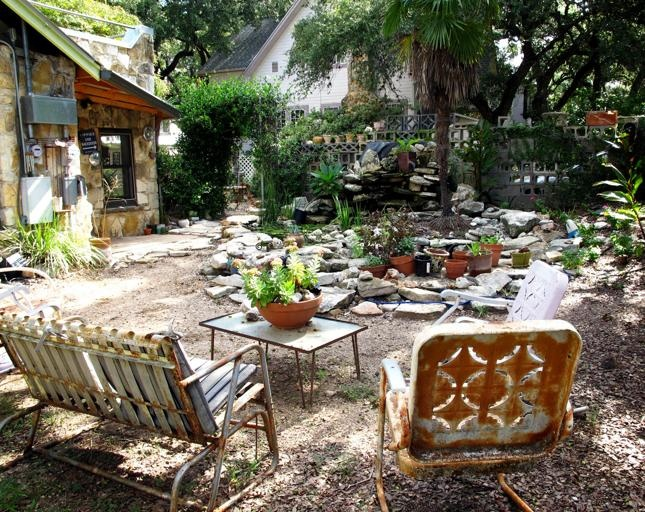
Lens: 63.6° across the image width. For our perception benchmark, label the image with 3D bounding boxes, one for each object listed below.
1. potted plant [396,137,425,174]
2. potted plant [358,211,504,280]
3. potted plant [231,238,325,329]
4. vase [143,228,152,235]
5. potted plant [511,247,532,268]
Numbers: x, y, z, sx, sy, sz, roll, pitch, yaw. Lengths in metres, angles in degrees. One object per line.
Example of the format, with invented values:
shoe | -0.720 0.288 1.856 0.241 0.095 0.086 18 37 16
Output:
potted plant | 1.809 -2.164 11.137 0.515 0.681 0.545 0 10 23
potted plant | 1.313 -0.112 7.486 1.378 0.821 1.096 -1 2 19
potted plant | -0.360 0.269 4.517 0.661 0.595 0.825 0 1 41
vase | -3.691 -0.518 10.864 0.144 0.088 0.133 -1 5 -8
potted plant | 2.726 0.031 7.176 0.270 0.223 0.253 -1 -2 7
